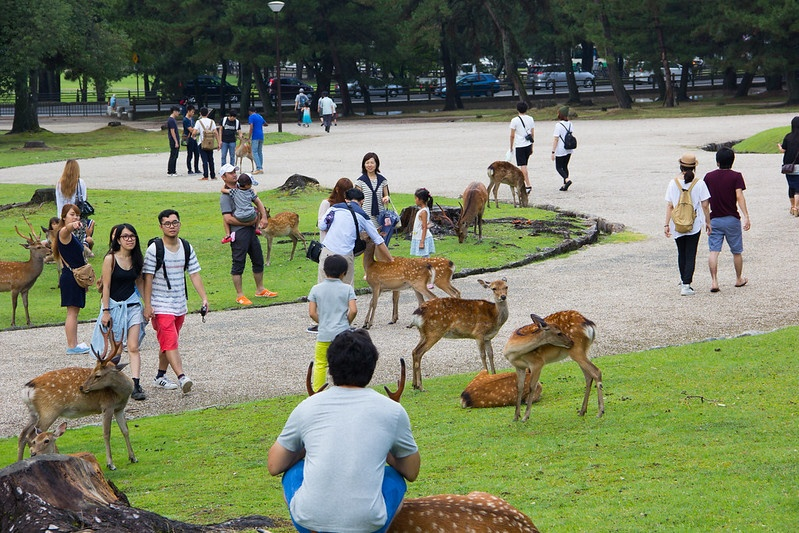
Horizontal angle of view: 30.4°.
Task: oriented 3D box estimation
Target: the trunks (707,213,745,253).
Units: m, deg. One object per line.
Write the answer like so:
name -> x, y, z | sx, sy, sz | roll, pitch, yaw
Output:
trunks -> 10.014, -1.062, 45.415 | 1.067, 1.481, 0.553 | 6, 42, 15

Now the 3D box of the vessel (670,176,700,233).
vessel -> 8.639, -1.846, 44.733 | 0.762, 1.650, 0.284 | -3, 7, 10

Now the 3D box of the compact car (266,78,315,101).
compact car -> -7.380, -11.789, 97.448 | 2.914, 1.341, 1.535 | -8, 18, -16

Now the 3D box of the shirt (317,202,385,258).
shirt -> -1.405, -1.118, 43.850 | 1.394, 0.907, 2.426 | -5, 6, -22

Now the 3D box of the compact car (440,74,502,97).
compact car -> 4.871, -12.300, 99.469 | 3.439, 1.191, 1.845 | 0, 10, -4

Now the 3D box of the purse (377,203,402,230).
purse -> -0.225, -1.597, 47.389 | 0.889, 1.163, 0.648 | 0, 5, -18

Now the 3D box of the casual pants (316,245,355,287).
casual pants -> -1.874, -0.057, 42.383 | 1.112, 1.421, 0.675 | 2, 9, 1

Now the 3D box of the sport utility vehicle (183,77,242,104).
sport utility vehicle -> -12.602, -11.603, 97.665 | 3.346, 1.540, 1.812 | -3, 11, -7

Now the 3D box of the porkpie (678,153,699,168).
porkpie -> 8.772, -3.247, 44.810 | 0.450, 0.445, 0.656 | -3, 7, 14

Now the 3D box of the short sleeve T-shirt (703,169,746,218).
short sleeve T-shirt -> 9.894, -2.226, 45.107 | 1.487, 1.622, 0.867 | 2, 11, 22
